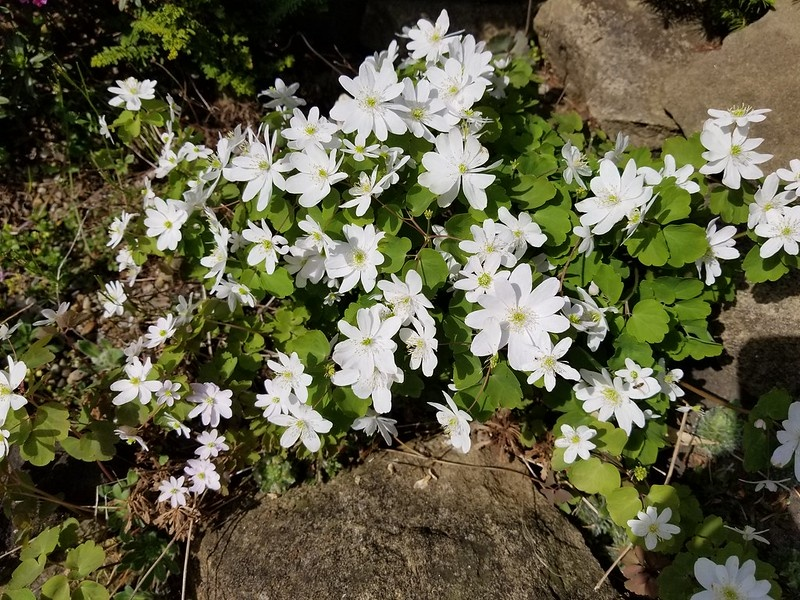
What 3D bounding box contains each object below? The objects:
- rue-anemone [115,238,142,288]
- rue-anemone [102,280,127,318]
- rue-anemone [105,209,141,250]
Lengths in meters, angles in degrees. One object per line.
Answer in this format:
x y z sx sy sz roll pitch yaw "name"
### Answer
-1.525 -0.212 4.026 0.080 0.220 0.205 -19 3 -29 "rue-anemone"
-1.580 0.003 3.951 0.171 0.174 0.084 40 33 21 "rue-anemone"
-1.528 -0.432 3.959 0.235 0.113 0.244 -49 47 30 "rue-anemone"
